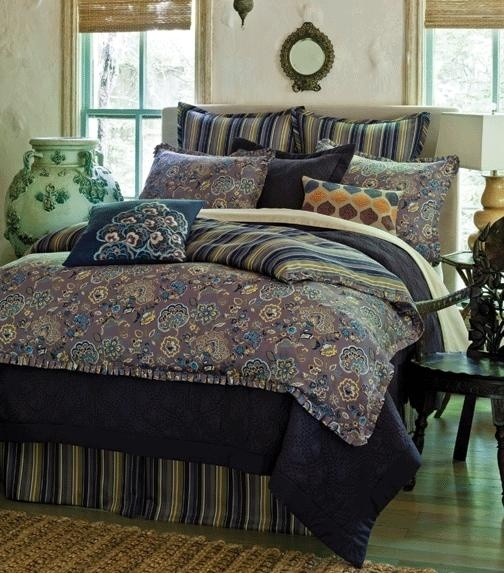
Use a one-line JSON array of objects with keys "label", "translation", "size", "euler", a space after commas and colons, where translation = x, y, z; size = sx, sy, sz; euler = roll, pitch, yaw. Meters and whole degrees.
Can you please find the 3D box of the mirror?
[{"label": "mirror", "translation": [0.379, -1.565, 3.971], "size": [0.358, 0.461, 0.061], "euler": [10, 16, 18]}]
